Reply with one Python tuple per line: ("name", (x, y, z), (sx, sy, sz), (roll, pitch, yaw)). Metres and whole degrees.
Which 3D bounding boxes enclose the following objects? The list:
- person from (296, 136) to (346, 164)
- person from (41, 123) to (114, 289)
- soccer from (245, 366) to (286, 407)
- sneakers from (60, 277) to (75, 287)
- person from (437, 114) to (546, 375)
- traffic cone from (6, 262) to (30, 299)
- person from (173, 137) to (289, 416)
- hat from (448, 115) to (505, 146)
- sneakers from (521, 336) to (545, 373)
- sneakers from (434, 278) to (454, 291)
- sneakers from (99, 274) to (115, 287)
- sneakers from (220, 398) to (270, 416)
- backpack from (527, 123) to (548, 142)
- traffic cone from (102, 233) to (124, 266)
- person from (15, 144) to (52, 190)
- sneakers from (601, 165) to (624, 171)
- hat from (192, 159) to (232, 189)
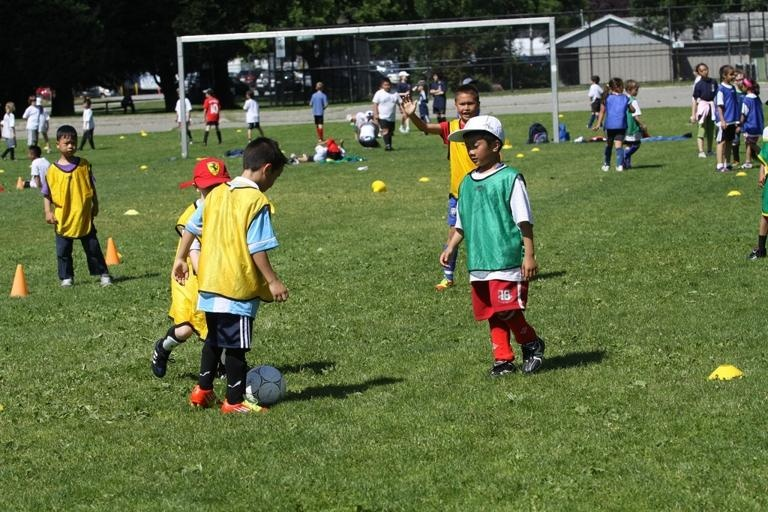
("person", (-1.651, -2.595, 24.559), (0.795, 0.471, 1.013), (-24, 21, -38))
("person", (-4.277, -0.685, 13.307), (0.767, 2.212, 1.128), (-8, 8, -20))
("soccer", (-1.209, 1.316, 9.930), (0.362, 0.383, 0.391), (-19, 52, -4))
("sneakers", (-4.390, 0.350, 13.343), (0.150, 0.113, 0.090), (9, 0, -7))
("person", (1.166, -0.109, 10.188), (0.889, 2.710, 0.565), (-2, 8, 21))
("traffic cone", (-4.992, 0.320, 13.139), (0.236, 0.402, 0.550), (-8, 9, -21))
("person", (-1.521, 0.214, 9.731), (1.190, 2.693, 0.621), (-4, 8, 8))
("hat", (1.017, -1.313, 10.029), (0.410, 0.224, 0.298), (3, -5, -28))
("sneakers", (1.573, 1.066, 10.257), (0.155, 0.198, 0.464), (-11, 44, 37))
("sneakers", (0.789, 0.371, 12.773), (0.258, 0.125, 0.110), (-9, 13, -43))
("sneakers", (-3.851, 0.335, 13.402), (0.179, 0.200, 0.139), (0, 4, -4))
("sneakers", (-1.409, 1.521, 9.773), (0.486, 0.216, 0.172), (-2, 4, -4))
("backpack", (4.186, -3.347, 26.470), (0.573, 0.617, 0.432), (-4, 12, 1))
("traffic cone", (-4.123, -0.096, 14.711), (0.364, 0.521, 0.372), (4, 10, 40))
("person", (-7.042, -1.747, 19.303), (0.562, 0.850, 0.485), (6, 9, -5))
("sneakers", (4.667, -1.808, 19.753), (0.432, 0.163, 0.197), (4, -7, 6))
("hat", (-1.853, -0.868, 10.182), (0.276, 0.235, 0.388), (-3, 7, -18))
